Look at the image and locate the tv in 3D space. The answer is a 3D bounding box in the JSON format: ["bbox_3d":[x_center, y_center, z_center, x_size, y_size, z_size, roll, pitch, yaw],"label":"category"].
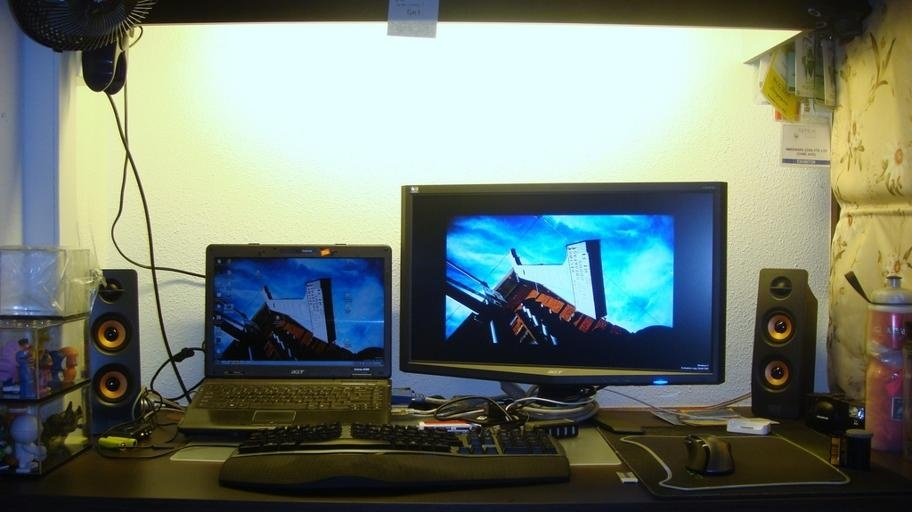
[{"bbox_3d":[0.324,0.136,2.012,0.910,0.524,0.217,0,-4,2],"label":"tv"}]
